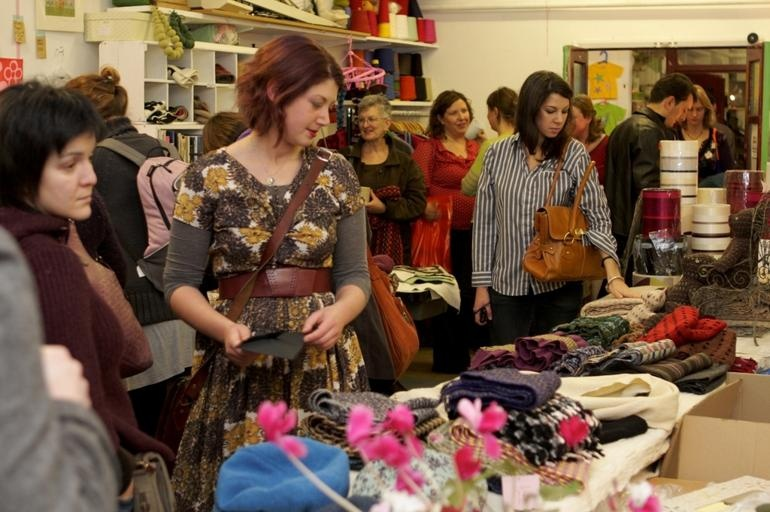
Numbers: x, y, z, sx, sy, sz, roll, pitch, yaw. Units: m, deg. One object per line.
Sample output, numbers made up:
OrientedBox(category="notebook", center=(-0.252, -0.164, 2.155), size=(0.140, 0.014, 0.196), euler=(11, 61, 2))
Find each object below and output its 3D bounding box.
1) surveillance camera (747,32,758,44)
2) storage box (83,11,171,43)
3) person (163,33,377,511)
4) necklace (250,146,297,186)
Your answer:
OrientedBox(category="surveillance camera", center=(4.881, -2.895, 7.175), size=(0.135, 0.152, 0.034), euler=(-2, 1, 12))
OrientedBox(category="storage box", center=(-2.031, -1.827, 4.304), size=(0.280, 0.143, 0.297), euler=(2, 6, 25))
OrientedBox(category="person", center=(-0.383, 0.050, 1.754), size=(0.664, 1.525, 0.407), euler=(0, 6, -2))
OrientedBox(category="necklace", center=(-0.350, -0.280, 1.776), size=(0.169, 0.113, 0.167), euler=(-6, 1, 12))
